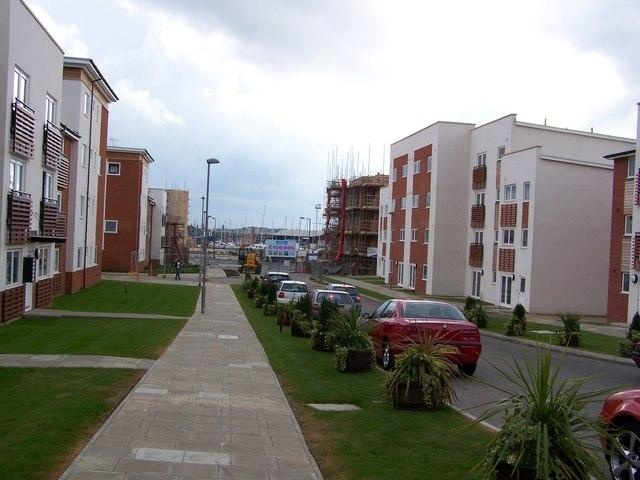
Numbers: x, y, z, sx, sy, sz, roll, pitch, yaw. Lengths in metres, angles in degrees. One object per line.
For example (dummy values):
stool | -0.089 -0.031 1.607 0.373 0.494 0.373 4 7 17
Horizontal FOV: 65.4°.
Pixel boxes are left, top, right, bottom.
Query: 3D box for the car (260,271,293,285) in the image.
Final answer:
car | -3.599 3.098 40.518 1.549 1.351 2.518 1 7 -13

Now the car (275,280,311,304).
car | -1.545 2.781 26.997 0.964 0.853 1.666 1 4 -9

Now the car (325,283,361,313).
car | 1.416 3.022 25.945 1.260 1.127 2.213 1 2 -4

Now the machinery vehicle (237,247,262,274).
machinery vehicle | -10.685 3.059 75.085 3.422 5.826 12.209 0 -3 -7
